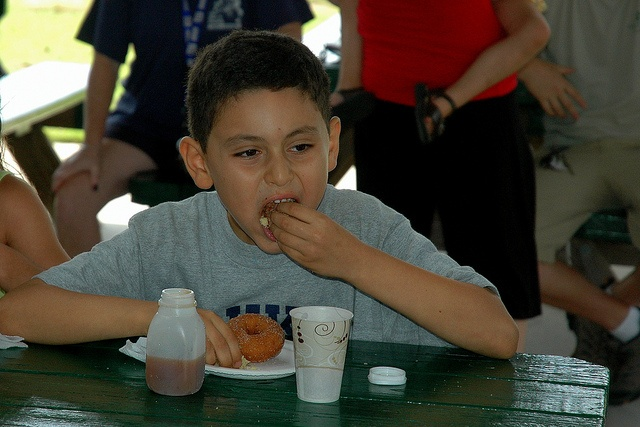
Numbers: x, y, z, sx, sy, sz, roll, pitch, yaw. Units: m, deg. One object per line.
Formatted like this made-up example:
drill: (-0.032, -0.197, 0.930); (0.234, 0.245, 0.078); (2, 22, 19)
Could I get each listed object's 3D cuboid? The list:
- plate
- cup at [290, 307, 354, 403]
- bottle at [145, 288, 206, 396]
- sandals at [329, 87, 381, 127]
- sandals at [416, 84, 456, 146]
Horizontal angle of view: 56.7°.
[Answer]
plate: (-0.191, 0.395, 1.764); (0.221, 0.090, 0.243); (-4, 8, -36)
cup: (0.000, 0.364, 1.587); (0.129, 0.233, 0.178); (3, -4, -34)
bottle: (-0.382, 0.350, 1.616); (0.150, 0.260, 0.134); (2, 3, 14)
sandals: (0.173, -0.598, 3.255); (0.191, 0.216, 0.306); (27, 33, 36)
sandals: (0.573, -0.496, 2.980); (0.139, 0.297, 0.182); (-2, 17, 1)
